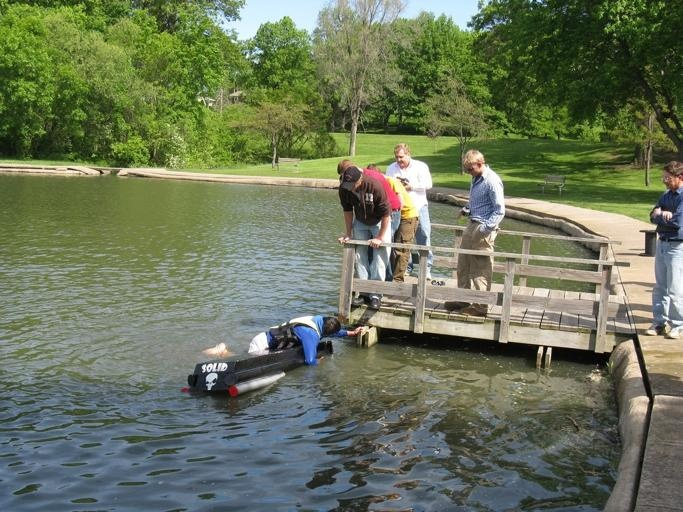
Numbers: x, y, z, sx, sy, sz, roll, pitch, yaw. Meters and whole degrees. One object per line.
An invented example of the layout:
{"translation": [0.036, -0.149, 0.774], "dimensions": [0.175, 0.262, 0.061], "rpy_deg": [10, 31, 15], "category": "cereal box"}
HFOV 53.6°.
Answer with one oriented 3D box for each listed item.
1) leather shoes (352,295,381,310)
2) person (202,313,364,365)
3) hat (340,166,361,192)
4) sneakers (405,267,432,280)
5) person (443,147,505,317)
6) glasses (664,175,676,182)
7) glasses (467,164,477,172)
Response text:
{"translation": [0.539, 0.864, 13.004], "dimensions": [0.650, 0.195, 0.214], "rpy_deg": [3, 5, 20], "category": "leather shoes"}
{"translation": [-1.055, 1.328, 11.536], "dimensions": [2.086, 0.466, 1.001], "rpy_deg": [-3, 17, 0], "category": "person"}
{"translation": [0.163, -1.342, 11.969], "dimensions": [0.338, 0.239, 0.461], "rpy_deg": [11, 44, 25], "category": "hat"}
{"translation": [1.577, 0.392, 14.842], "dimensions": [0.741, 0.240, 0.224], "rpy_deg": [8, -4, -30], "category": "sneakers"}
{"translation": [2.464, -0.423, 12.437], "dimensions": [0.874, 3.006, 1.029], "rpy_deg": [4, 7, 7], "category": "person"}
{"translation": [5.367, -1.259, 11.172], "dimensions": [0.131, 0.089, 0.152], "rpy_deg": [9, 15, 41], "category": "glasses"}
{"translation": [2.313, -1.564, 12.210], "dimensions": [0.140, 0.105, 0.045], "rpy_deg": [-1, -14, -7], "category": "glasses"}
